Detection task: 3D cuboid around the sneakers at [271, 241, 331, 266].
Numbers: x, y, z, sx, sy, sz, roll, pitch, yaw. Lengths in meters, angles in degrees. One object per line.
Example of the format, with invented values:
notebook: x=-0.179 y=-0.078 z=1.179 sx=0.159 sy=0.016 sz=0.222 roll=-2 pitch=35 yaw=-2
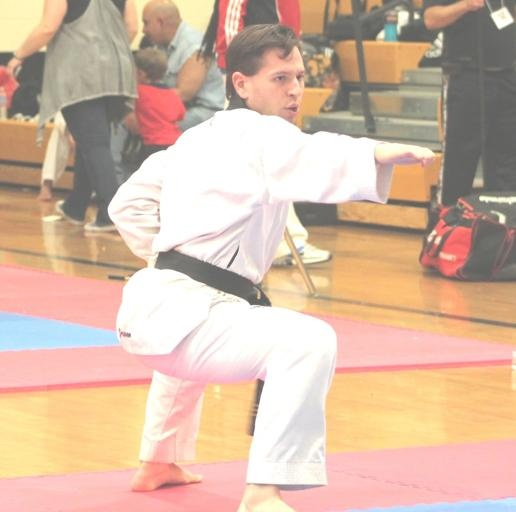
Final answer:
sneakers: x=0.251 y=-0.012 z=3.908 sx=0.350 sy=0.162 sz=0.121 roll=-5 pitch=11 yaw=-16
